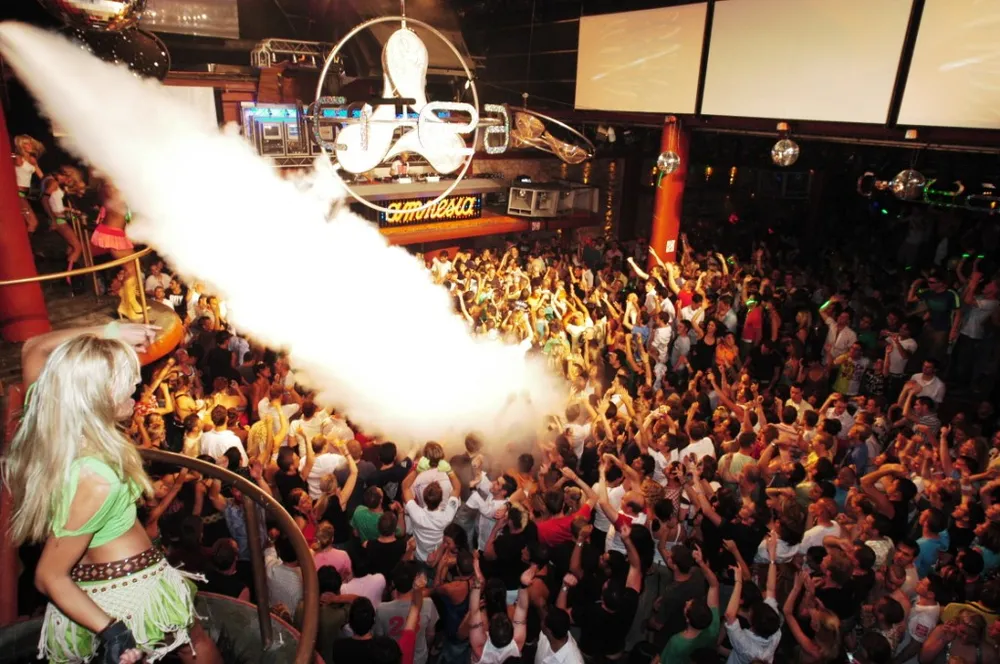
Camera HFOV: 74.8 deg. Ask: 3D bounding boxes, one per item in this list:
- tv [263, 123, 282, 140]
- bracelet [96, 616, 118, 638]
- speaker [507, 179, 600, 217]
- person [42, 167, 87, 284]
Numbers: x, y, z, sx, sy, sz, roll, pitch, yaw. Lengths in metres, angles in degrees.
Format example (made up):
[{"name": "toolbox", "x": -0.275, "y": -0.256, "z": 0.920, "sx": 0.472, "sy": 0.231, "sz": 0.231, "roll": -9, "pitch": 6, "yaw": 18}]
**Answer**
[{"name": "tv", "x": -4.648, "y": -4.091, "z": 13.272, "sx": 0.188, "sy": 0.327, "sz": 0.354, "roll": 23, "pitch": 10, "yaw": 38}, {"name": "bracelet", "x": -2.560, "y": 1.927, "z": 4.260, "sx": 0.073, "sy": 0.100, "sz": 0.100, "roll": 13, "pitch": -13, "yaw": -34}, {"name": "speaker", "x": 1.289, "y": -3.361, "z": 16.612, "sx": 1.399, "sy": 0.484, "sz": 1.389, "roll": -11, "pitch": 22, "yaw": -38}, {"name": "person", "x": -6.231, "y": -1.614, "z": 9.374, "sx": 0.479, "sy": 1.535, "sz": 1.695, "roll": -5, "pitch": 14, "yaw": -33}]
